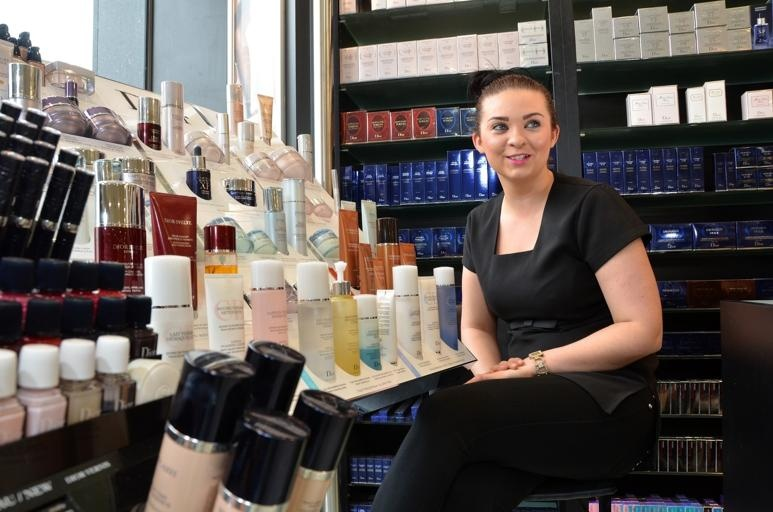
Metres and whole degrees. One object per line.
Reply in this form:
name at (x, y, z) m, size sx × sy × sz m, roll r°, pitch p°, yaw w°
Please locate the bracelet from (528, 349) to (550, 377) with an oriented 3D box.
bracelet at (0.373, 0.263, 1.550) m, size 0.036 × 0.055 × 0.057 m, roll -14°, pitch -7°, yaw -1°
